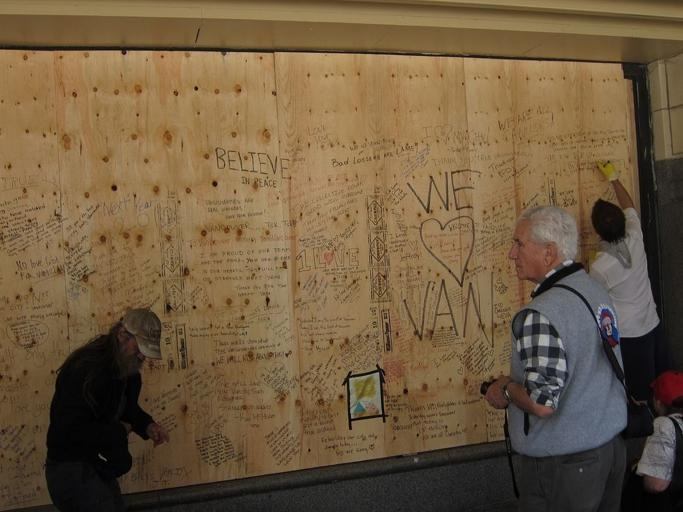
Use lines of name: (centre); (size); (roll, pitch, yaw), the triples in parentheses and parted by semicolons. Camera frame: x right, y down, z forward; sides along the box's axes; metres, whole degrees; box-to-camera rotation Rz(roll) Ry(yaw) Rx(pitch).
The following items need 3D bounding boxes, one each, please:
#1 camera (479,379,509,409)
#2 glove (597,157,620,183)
camera: (1.060, 0.941, 5.299); (0.086, 0.194, 0.203); (34, -13, -23)
glove: (2.534, -0.813, 7.350); (0.168, 0.225, 0.072); (-38, 11, -15)
